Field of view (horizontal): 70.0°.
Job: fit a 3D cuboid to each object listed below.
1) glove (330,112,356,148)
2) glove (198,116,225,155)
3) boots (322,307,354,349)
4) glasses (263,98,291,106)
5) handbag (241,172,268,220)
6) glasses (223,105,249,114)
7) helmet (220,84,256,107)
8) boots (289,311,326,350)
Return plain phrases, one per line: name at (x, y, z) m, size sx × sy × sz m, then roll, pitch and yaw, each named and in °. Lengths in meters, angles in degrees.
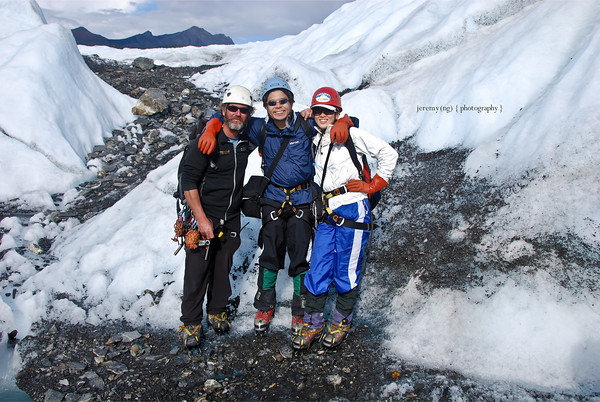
glove at (0.735, -1.294, 7.698) m, size 0.355 × 0.193 × 0.598 m, roll 13°, pitch 61°, yaw -4°
glove at (-1.613, -1.144, 7.682) m, size 0.365 × 0.620 × 0.250 m, roll -2°, pitch -5°, yaw -11°
boots at (0.705, 2.351, 8.082) m, size 0.349 × 0.413 × 0.931 m, roll 11°, pitch 13°, yaw 21°
glasses at (-0.414, -1.771, 7.777) m, size 0.510 × 0.158 × 0.184 m, roll -7°, pitch 43°, yaw -3°
handbag at (-0.900, -0.110, 8.504) m, size 0.616 × 0.811 × 0.846 m, roll 6°, pitch 14°, yaw 2°
glasses at (-1.116, -1.615, 7.680) m, size 0.420 × 0.174 × 0.091 m, roll -7°, pitch 43°, yaw -3°
helmet at (-1.158, -1.859, 7.743) m, size 0.527 × 0.371 × 0.414 m, roll -11°, pitch 43°, yaw -7°
boots at (0.168, 2.377, 8.074) m, size 0.311 × 0.635 × 0.904 m, roll 12°, pitch 15°, yaw 34°
